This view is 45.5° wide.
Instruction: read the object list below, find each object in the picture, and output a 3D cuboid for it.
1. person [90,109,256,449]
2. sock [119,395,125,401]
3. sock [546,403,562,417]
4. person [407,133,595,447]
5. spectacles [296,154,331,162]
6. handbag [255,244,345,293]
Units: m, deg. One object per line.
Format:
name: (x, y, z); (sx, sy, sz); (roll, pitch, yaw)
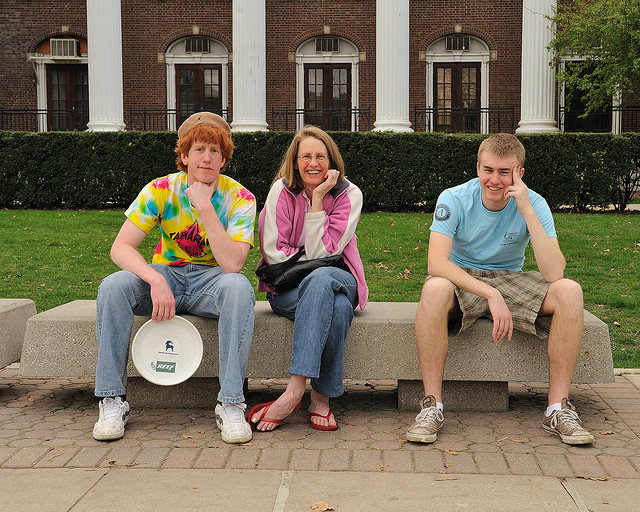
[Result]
person: (-0.921, 0.098, 4.935); (1.002, 2.024, 0.871); (-1, 10, -5)
sock: (-1.272, 0.921, 4.928); (0.031, 0.038, 0.035); (2, 6, -2)
sock: (1.471, 0.989, 4.855); (0.042, 0.054, 0.127); (-13, -20, -30)
person: (1.177, 0.167, 4.959); (1.105, 1.873, 0.977); (1, 11, 7)
spectacles: (-0.045, -0.672, 5.201); (0.196, 0.051, 0.060); (-1, 11, -6)
handbag: (-0.144, 0.080, 5.119); (0.430, 0.181, 0.314); (-22, 4, -2)
